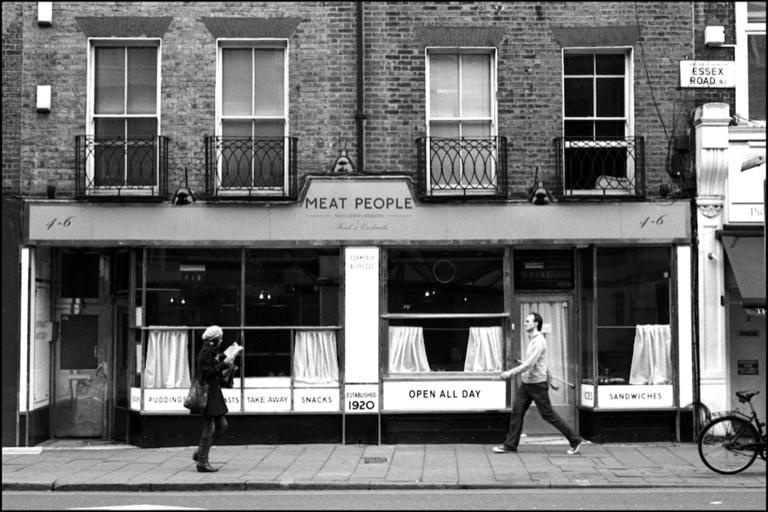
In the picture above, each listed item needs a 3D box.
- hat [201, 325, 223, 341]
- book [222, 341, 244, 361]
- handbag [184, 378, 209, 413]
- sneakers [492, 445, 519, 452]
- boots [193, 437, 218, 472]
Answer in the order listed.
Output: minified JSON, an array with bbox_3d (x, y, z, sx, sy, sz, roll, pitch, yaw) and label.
[{"bbox_3d":[-3.405,1.532,29.498,0.383,0.276,0.295,-6,25,-9],"label":"hat"},{"bbox_3d":[-3.018,1.901,29.765,0.379,0.110,0.376,-38,6,3],"label":"book"},{"bbox_3d":[-3.698,2.743,29.363,0.477,0.634,0.231,-1,0,-9],"label":"handbag"},{"bbox_3d":[2.492,3.995,30.746,0.506,0.212,0.181,4,-8,4],"label":"sneakers"},{"bbox_3d":[-3.551,3.921,29.588,0.472,0.616,0.535,-1,0,-8],"label":"boots"}]
